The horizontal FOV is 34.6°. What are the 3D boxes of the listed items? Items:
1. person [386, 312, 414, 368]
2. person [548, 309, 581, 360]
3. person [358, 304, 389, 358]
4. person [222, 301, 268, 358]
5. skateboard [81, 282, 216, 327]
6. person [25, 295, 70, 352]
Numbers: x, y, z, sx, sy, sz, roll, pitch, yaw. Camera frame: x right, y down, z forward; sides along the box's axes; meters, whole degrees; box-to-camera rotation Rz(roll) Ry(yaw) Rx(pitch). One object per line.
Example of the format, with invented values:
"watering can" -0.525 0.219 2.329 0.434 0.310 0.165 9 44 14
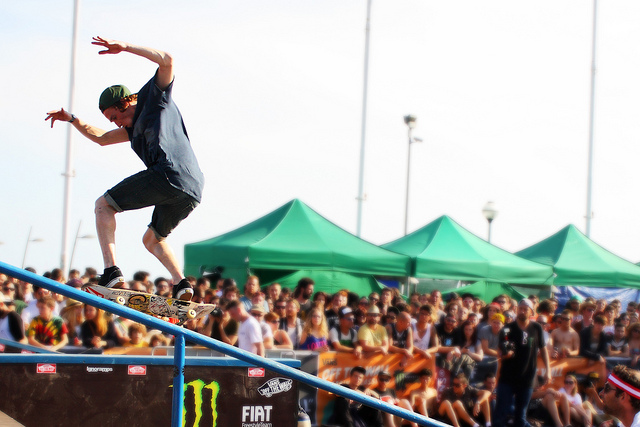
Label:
"person" 1.306 2.059 16.749 0.463 0.947 0.294 2 -19 -4
"person" 4.233 2.135 17.836 0.518 0.904 0.519 5 -3 17
"person" 0.860 1.899 16.688 0.493 0.908 0.345 -1 -19 3
"person" -1.153 1.782 15.522 0.245 0.718 0.399 -25 -41 -21
"skateboard" -2.157 1.218 13.061 1.819 0.460 0.256 13 -60 -6
"person" -4.310 1.735 16.236 0.695 0.820 0.442 3 -19 -7
